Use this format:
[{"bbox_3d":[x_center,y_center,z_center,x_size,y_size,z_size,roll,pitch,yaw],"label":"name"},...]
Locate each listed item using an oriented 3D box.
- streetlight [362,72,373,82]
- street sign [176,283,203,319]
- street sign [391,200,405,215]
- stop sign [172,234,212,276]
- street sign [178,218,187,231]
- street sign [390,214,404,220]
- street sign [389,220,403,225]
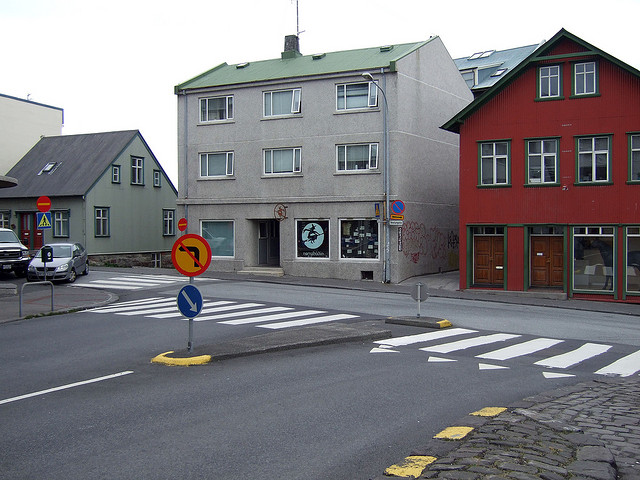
[{"bbox_3d":[2.274,-8.053,27.965,0.442,0.426,0.743,7,-6,22],"label":"streetlight"},{"bbox_3d":[-2.722,1.305,12.072,0.457,0.758,0.309,3,2,-6],"label":"street sign"},{"bbox_3d":[3.788,-1.586,28.030,0.473,0.681,0.820,4,2,13],"label":"street sign"},{"bbox_3d":[-2.702,0.337,12.104,0.831,1.042,0.088,3,-32,-16],"label":"stop sign"},{"bbox_3d":[-8.253,-0.946,34.618,0.616,0.701,0.128,10,-22,-33],"label":"street sign"},{"bbox_3d":[3.834,-1.165,29.155,0.705,0.244,0.538,5,2,23],"label":"street sign"},{"bbox_3d":[3.823,-0.893,29.020,0.826,0.258,0.659,3,2,-15],"label":"street sign"}]
